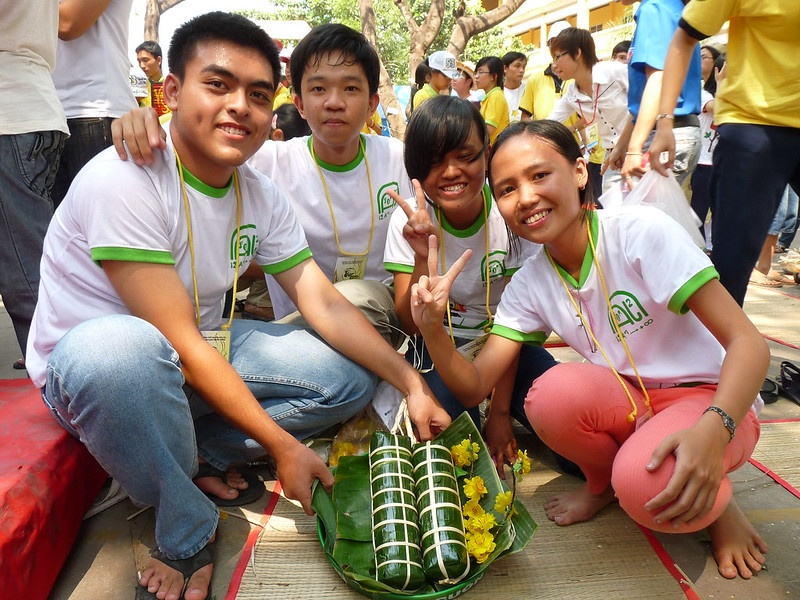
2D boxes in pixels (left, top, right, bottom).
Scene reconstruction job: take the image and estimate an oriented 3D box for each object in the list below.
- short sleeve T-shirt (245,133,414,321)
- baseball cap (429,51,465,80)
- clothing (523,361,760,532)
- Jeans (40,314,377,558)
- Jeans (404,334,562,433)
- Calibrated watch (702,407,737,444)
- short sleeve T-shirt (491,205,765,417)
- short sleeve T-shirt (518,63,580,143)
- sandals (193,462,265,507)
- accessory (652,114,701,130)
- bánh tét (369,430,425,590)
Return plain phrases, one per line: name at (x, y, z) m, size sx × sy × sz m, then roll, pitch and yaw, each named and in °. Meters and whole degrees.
short sleeve T-shirt at (-0.313, -0.369, 2.953) m, size 0.945 × 1.028 × 0.366 m, roll 1°, pitch 19°, yaw -11°
baseball cap at (0.533, -2.724, 6.207) m, size 0.362 × 0.223 × 0.261 m, roll 33°, pitch 37°, yaw 16°
clothing at (0.823, 0.476, 1.888) m, size 0.539 × 0.447 × 0.647 m, roll -22°, pitch 31°, yaw -37°
Jeans at (-0.593, 0.381, 2.194) m, size 1.383 × 0.804 × 0.799 m, roll -1°, pitch 10°, yaw -40°
Jeans at (0.381, 0.335, 2.480) m, size 0.489 × 0.505 × 0.139 m, roll -20°, pitch -2°, yaw -29°
Calibrated watch at (0.947, 0.350, 1.587) m, size 0.039 × 0.104 × 0.078 m, roll -36°, pitch 18°, yaw -6°
short sleeve T-shirt at (0.806, 0.044, 1.925) m, size 0.379 × 0.652 × 0.648 m, roll -39°, pitch 3°, yaw -28°
short sleeve T-shirt at (1.779, -2.466, 6.298) m, size 0.704 × 0.721 × 0.293 m, roll -8°, pitch 52°, yaw 8°
sandals at (-0.629, 0.708, 2.059) m, size 0.165 × 0.043 × 0.166 m, roll 26°, pitch 21°, yaw 39°
accessory at (1.365, -0.883, 2.662) m, size 0.155 × 0.125 × 0.162 m, roll -8°, pitch 21°, yaw -16°
bánh tét at (-0.016, 0.661, 1.712) m, size 0.125 × 0.128 × 0.422 m, roll 6°, pitch 46°, yaw -14°
